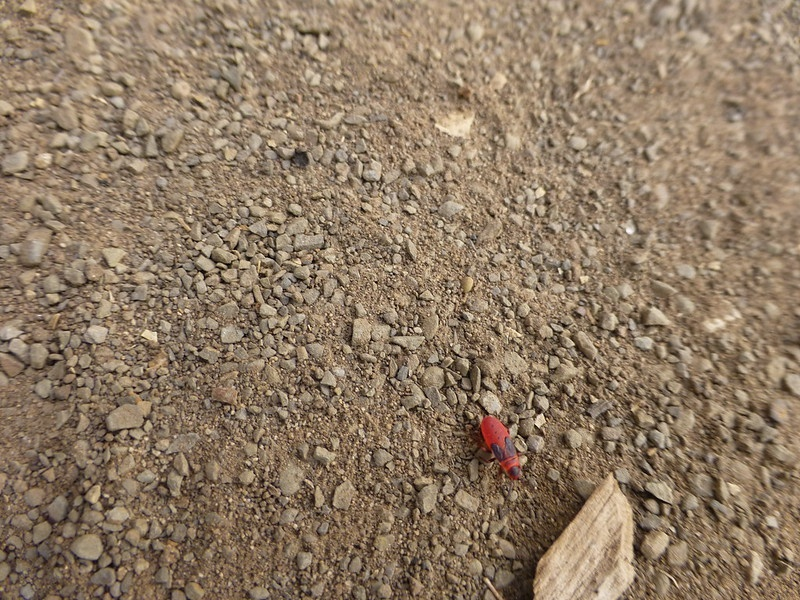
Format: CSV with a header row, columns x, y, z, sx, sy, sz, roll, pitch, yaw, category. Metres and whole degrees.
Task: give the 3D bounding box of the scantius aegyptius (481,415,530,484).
x,y,z,sx,sy,sz,roll,pitch,yaw,category
0.541,0.789,3.134,0.212,0.096,0.332,-23,85,-16,scantius aegyptius
